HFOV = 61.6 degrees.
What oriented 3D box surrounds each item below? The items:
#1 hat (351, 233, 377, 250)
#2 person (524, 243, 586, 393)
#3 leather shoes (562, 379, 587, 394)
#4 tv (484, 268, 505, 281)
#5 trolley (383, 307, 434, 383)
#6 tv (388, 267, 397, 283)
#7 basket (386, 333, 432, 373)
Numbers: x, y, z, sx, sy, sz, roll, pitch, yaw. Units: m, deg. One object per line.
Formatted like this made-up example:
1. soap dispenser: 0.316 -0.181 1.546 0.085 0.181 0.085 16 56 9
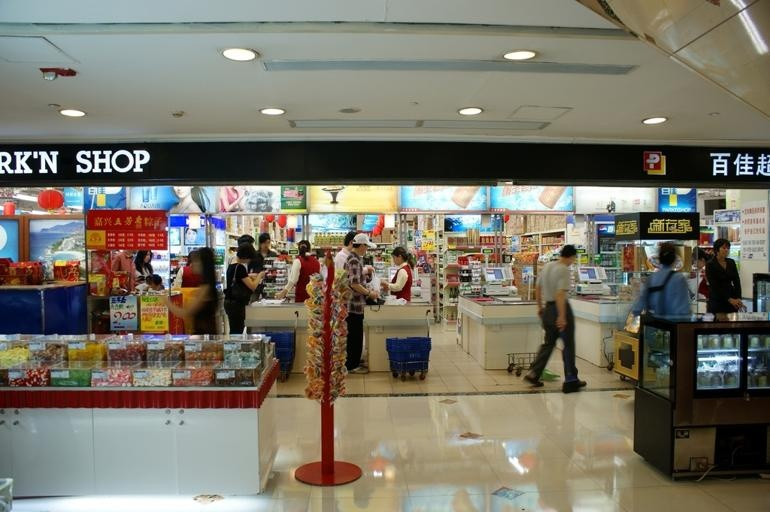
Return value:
1. hat: -0.267 -0.195 9.287 0.300 0.136 0.182 0 5 -20
2. person: 2.354 0.841 8.777 0.784 1.945 0.693 2 9 16
3. leather shoes: 2.590 1.763 8.732 0.421 0.157 0.133 -2 2 -22
4. tv: 1.869 0.326 10.933 0.329 0.201 0.160 1 8 6
5. trolley: 0.343 1.315 9.469 0.684 0.869 0.656 2 -6 -32
6. tv: 0.147 0.371 11.827 0.269 0.222 0.067 -6 14 -29
7. basket: 0.322 1.353 9.439 0.767 0.548 0.492 1 -5 -19
